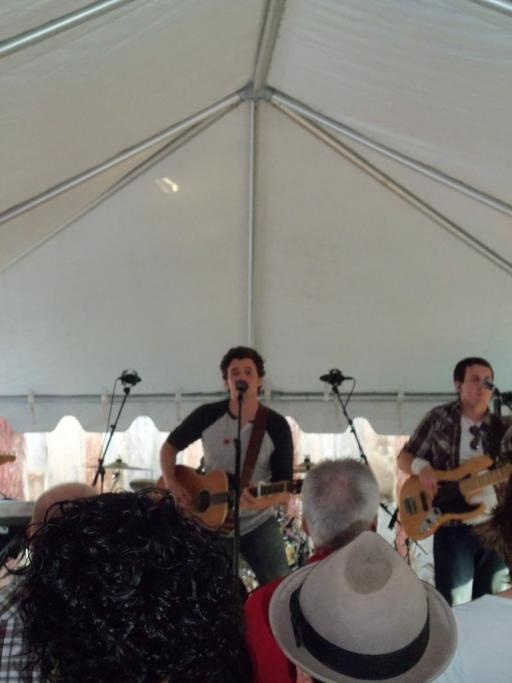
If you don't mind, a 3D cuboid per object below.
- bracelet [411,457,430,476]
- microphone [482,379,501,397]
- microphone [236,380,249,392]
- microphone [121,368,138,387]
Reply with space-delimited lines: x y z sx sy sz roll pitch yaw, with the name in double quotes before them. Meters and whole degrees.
"bracelet" 0.950 0.722 3.937 0.075 0.067 0.096 17 -13 -13
"microphone" 1.359 0.275 3.933 0.064 0.074 0.237 42 6 27
"microphone" -0.064 0.207 3.157 0.065 0.073 0.022 -1 -2 -5
"microphone" -0.853 0.251 4.644 0.140 0.119 0.205 -3 -5 -9
